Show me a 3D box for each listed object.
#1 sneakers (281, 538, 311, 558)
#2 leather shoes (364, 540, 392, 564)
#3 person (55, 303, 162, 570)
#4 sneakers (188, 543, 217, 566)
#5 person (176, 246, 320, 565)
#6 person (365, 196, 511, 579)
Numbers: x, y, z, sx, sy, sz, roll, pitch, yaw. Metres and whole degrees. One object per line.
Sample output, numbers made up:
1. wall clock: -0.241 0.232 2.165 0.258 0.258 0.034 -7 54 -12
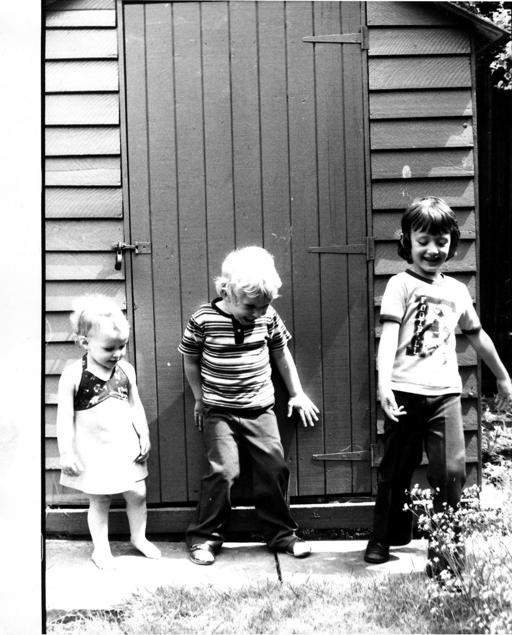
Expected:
1. sneakers: 0.165 0.965 3.988 0.054 0.058 0.139 10 -14 -40
2. leather shoes: 0.501 0.963 3.928 0.074 0.065 0.159 -1 -8 8
3. person: -0.619 0.468 3.998 0.411 1.113 0.291 -2 1 -14
4. sneakers: -0.207 0.977 3.980 0.127 0.083 0.098 -2 2 -23
5. person: -0.036 0.349 4.048 0.567 1.322 0.443 -1 1 3
6. person: 0.704 0.252 3.943 0.432 1.494 0.536 0 2 38
